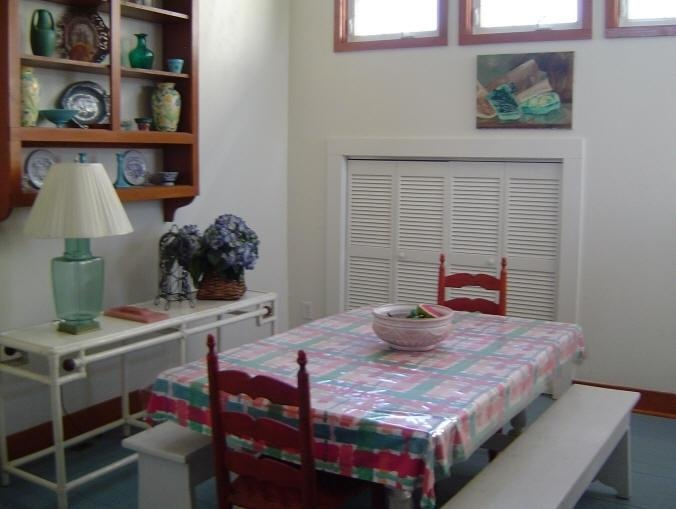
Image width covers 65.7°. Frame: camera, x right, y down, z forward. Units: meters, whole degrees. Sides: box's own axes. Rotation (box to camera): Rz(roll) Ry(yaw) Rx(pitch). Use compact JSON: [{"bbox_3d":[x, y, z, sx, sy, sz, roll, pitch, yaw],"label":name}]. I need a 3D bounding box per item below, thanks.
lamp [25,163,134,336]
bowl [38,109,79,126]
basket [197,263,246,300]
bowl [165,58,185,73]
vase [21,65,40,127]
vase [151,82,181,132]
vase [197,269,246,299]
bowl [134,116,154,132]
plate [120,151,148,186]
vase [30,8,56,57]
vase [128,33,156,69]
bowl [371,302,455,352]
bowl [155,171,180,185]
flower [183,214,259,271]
[{"bbox_3d":[-1.222,-0.025,2.488,0.453,0.813,0.243,-4,9,-24],"label":"lamp"},{"bbox_3d":[-1.482,-0.722,2.774,0.171,0.093,0.218,-5,9,-26],"label":"bowl"},{"bbox_3d":[-0.717,0.152,3.197,0.243,0.155,0.192,0,-3,-2],"label":"basket"},{"bbox_3d":[-1.034,-1.177,3.289,0.118,0.086,0.118,1,-1,0],"label":"bowl"},{"bbox_3d":[-1.545,-0.790,2.617,0.066,0.304,0.141,-1,8,-3],"label":"vase"},{"bbox_3d":[-1.090,-0.936,3.324,0.198,0.292,0.187,9,13,27],"label":"vase"},{"bbox_3d":[-0.714,0.184,3.250,0.217,0.118,0.187,0,-3,-2],"label":"vase"},{"bbox_3d":[-1.181,-0.779,3.176,0.114,0.078,0.113,0,-2,0],"label":"bowl"},{"bbox_3d":[-1.257,-0.525,3.203,0.032,0.234,0.236,-4,-6,25],"label":"plate"},{"bbox_3d":[-1.505,-1.125,2.650,0.117,0.258,0.101,0,8,5],"label":"vase"},{"bbox_3d":[-1.183,-1.225,3.159,0.170,0.196,0.170,16,28,17],"label":"vase"},{"bbox_3d":[0.334,0.319,2.295,0.334,0.152,0.337,-1,6,0],"label":"bowl"},{"bbox_3d":[-1.079,-0.470,3.296,0.102,0.062,0.098,1,1,0],"label":"bowl"},{"bbox_3d":[-0.719,-0.073,3.257,0.437,0.345,0.404,20,11,35],"label":"flower"}]
